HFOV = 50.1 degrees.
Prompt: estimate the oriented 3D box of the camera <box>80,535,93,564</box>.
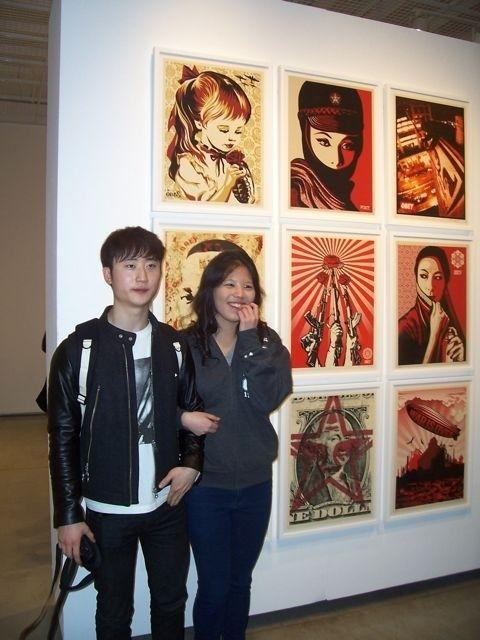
[{"bbox_3d":[-0.465,0.696,1.581,0.027,0.072,0.049,1,-15,-31],"label":"camera"}]
